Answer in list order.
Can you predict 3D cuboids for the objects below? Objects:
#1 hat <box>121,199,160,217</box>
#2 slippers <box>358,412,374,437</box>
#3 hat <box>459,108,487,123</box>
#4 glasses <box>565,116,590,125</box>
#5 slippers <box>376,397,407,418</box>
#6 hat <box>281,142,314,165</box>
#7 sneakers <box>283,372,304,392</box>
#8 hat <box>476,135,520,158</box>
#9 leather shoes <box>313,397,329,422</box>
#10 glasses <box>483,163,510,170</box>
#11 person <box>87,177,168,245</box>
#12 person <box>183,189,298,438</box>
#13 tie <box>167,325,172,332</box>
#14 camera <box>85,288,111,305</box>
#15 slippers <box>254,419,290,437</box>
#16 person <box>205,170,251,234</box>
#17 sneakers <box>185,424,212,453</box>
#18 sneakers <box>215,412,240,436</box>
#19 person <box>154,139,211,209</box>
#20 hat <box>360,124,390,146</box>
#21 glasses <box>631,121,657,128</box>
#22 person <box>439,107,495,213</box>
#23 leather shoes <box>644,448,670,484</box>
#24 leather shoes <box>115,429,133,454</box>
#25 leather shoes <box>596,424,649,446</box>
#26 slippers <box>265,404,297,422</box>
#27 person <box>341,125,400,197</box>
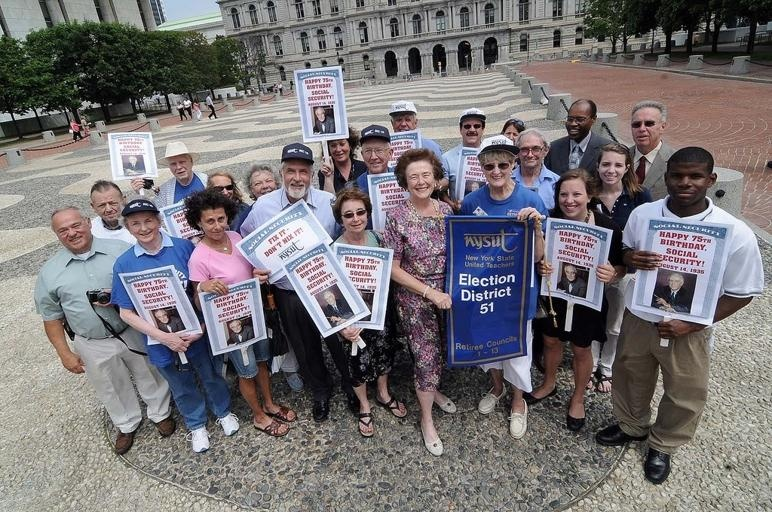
[{"bbox_3d":[-2.834,-0.549,5.706,0.372,0.200,0.193,-16,26,-23],"label":"hat"},{"bbox_3d":[-0.247,2.057,6.049,0.121,0.106,0.349,-1,25,-3],"label":"slippers"},{"bbox_3d":[1.194,-1.973,6.979,0.321,0.175,0.314,-3,23,6],"label":"hat"},{"bbox_3d":[2.668,-1.893,6.914,0.287,0.112,0.067,2,25,17],"label":"glasses"},{"bbox_3d":[0.087,1.895,6.276,0.345,0.102,0.178,27,54,29],"label":"slippers"},{"bbox_3d":[-1.082,-1.276,6.169,0.377,0.272,0.569,4,-5,-7],"label":"hat"},{"bbox_3d":[-1.273,1.648,6.681,0.150,0.139,0.341,-38,53,-16],"label":"sneakers"},{"bbox_3d":[1.289,-1.241,5.685,0.390,0.209,0.481,13,30,38],"label":"hat"},{"bbox_3d":[-0.831,1.943,6.307,0.128,0.135,0.339,0,16,-1],"label":"leather shoes"},{"bbox_3d":[1.242,-1.009,5.604,0.282,0.083,0.042,0,25,14],"label":"glasses"},{"bbox_3d":[-3.832,-0.595,6.944,1.178,0.770,0.540,-3,19,-10],"label":"person"},{"bbox_3d":[-1.773,0.714,5.976,0.823,2.954,1.023,-17,26,-22],"label":"person"},{"bbox_3d":[-2.515,0.839,5.770,0.030,0.112,0.014,-24,1,-1],"label":"tie"},{"bbox_3d":[-3.408,0.488,5.904,0.252,0.126,0.173,-1,16,-13],"label":"camera"},{"bbox_3d":[-1.429,2.119,6.183,0.352,0.104,0.176,8,35,18],"label":"slippers"},{"bbox_3d":[-2.163,-0.677,7.125,0.475,1.305,0.409,-3,43,-10],"label":"person"},{"bbox_3d":[-2.314,2.233,6.144,0.191,0.128,0.322,-10,28,-22],"label":"sneakers"},{"bbox_3d":[-1.965,2.099,6.225,0.165,0.148,0.339,-42,52,-16],"label":"sneakers"},{"bbox_3d":[-3.104,-1.224,7.622,1.109,1.001,0.683,-12,21,-15],"label":"person"},{"bbox_3d":[-0.138,-1.555,6.493,0.387,0.243,0.545,-2,0,1],"label":"hat"},{"bbox_3d":[3.323,-1.704,6.430,0.270,0.092,0.086,10,29,33],"label":"glasses"},{"bbox_3d":[1.203,-1.281,7.049,1.072,1.599,0.837,-5,5,-2],"label":"person"},{"bbox_3d":[2.958,2.304,5.436,0.173,0.198,0.465,7,35,30],"label":"leather shoes"},{"bbox_3d":[-3.262,2.311,6.158,0.128,0.133,0.334,0,40,-3],"label":"leather shoes"},{"bbox_3d":[2.703,2.076,5.794,0.611,0.256,0.220,0,57,7],"label":"leather shoes"},{"bbox_3d":[-1.336,1.992,6.334,0.365,0.108,0.176,8,39,17],"label":"slippers"},{"bbox_3d":[-0.170,-1.269,6.575,0.680,0.895,0.631,7,13,23],"label":"person"}]
